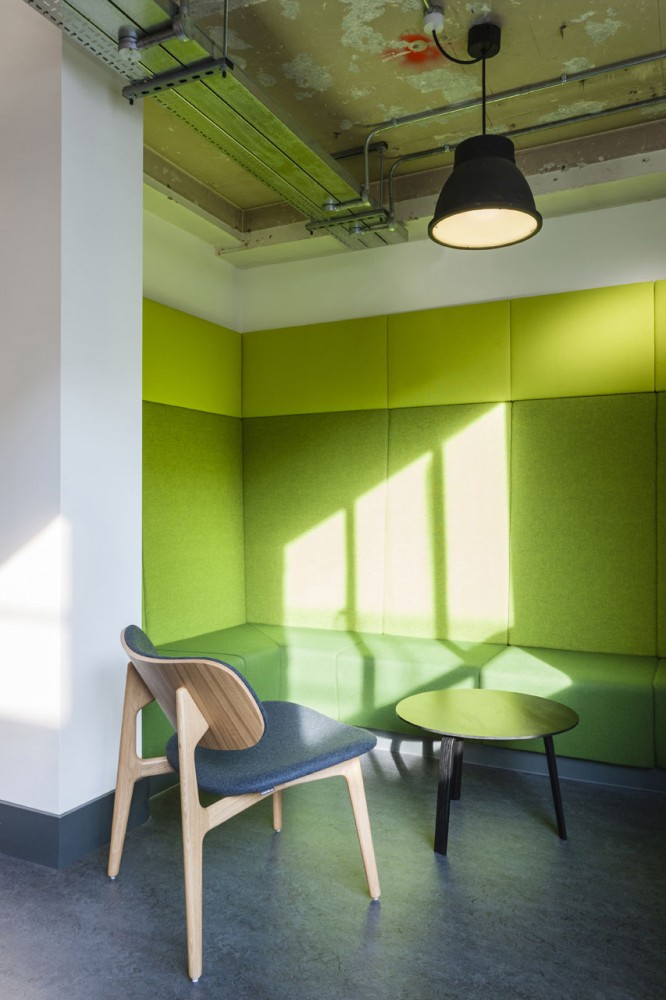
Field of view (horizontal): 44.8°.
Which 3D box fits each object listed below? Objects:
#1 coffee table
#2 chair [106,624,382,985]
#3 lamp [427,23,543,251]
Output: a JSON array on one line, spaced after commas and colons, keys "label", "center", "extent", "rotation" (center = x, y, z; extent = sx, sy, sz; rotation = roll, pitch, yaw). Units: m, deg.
[{"label": "coffee table", "center": [0.553, 0.981, 2.958], "extent": [0.665, 0.405, 0.650], "rotation": [0, -1, 21]}, {"label": "chair", "center": [-0.285, 0.815, 2.522], "extent": [0.709, 0.787, 0.599], "rotation": [-1, 2, -38]}, {"label": "lamp", "center": [0.536, -1.360, 2.893], "extent": [0.384, 0.899, 0.783], "rotation": [0, 2, 7]}]
